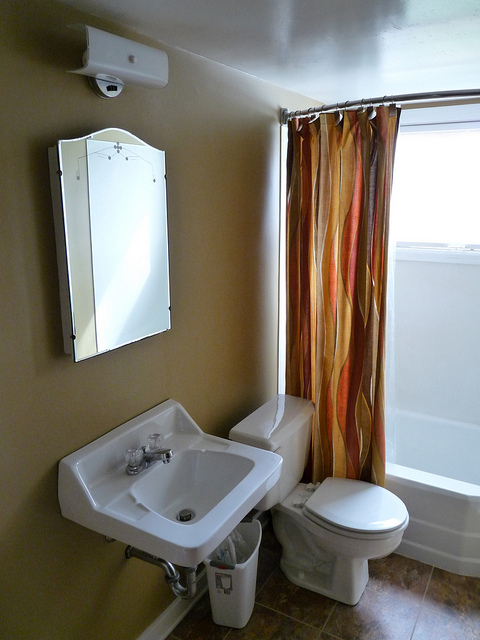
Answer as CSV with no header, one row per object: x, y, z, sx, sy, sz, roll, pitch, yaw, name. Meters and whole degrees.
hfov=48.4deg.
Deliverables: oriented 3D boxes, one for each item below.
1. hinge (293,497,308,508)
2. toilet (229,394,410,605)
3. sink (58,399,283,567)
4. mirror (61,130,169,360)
0.257,0.801,2.335,0.030,0.026,0.056,3,6,20,hinge
0.359,0.805,2.348,0.567,0.854,0.424,8,26,30,toilet
-0.217,0.516,1.631,0.358,0.344,0.485,7,20,21,sink
-0.374,-0.234,1.570,0.055,0.808,0.468,5,14,23,mirror
